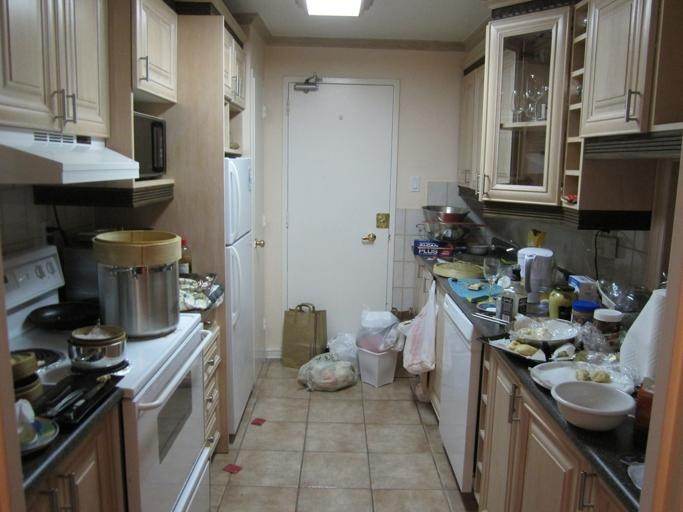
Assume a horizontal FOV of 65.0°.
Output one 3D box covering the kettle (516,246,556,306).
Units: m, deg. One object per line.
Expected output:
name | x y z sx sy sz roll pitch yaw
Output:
kettle | 1.040 0.098 2.868 0.185 0.312 0.298 3 12 21

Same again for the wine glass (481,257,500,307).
wine glass | 0.977 0.146 3.495 0.125 0.324 0.123 -8 22 -8

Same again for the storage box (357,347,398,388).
storage box | 0.274 0.835 4.260 0.271 0.273 0.325 -4 7 -42

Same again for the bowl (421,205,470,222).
bowl | 0.838 -0.350 4.280 0.209 0.088 0.216 0 9 0

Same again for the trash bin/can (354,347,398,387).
trash bin/can | 0.284 0.824 4.265 0.271 0.273 0.326 -4 7 -42

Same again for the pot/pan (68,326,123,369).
pot/pan | -0.956 0.361 2.098 0.198 0.134 0.205 4 7 12

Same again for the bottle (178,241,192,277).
bottle | -0.908 0.004 3.104 0.065 0.199 0.182 -3 14 -14

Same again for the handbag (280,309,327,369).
handbag | -0.311 0.691 4.443 0.437 0.679 0.271 0 1 2

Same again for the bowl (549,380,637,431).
bowl | 0.866 0.505 1.804 0.242 0.100 0.251 -6 11 1

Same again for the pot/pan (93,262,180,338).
pot/pan | -0.891 0.165 2.406 0.330 0.342 0.344 9 15 27

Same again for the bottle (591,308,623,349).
bottle | 1.146 0.321 2.295 0.089 0.158 0.096 0 3 0

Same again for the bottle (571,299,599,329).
bottle | 1.097 0.260 2.426 0.100 0.117 0.102 -1 7 -28
